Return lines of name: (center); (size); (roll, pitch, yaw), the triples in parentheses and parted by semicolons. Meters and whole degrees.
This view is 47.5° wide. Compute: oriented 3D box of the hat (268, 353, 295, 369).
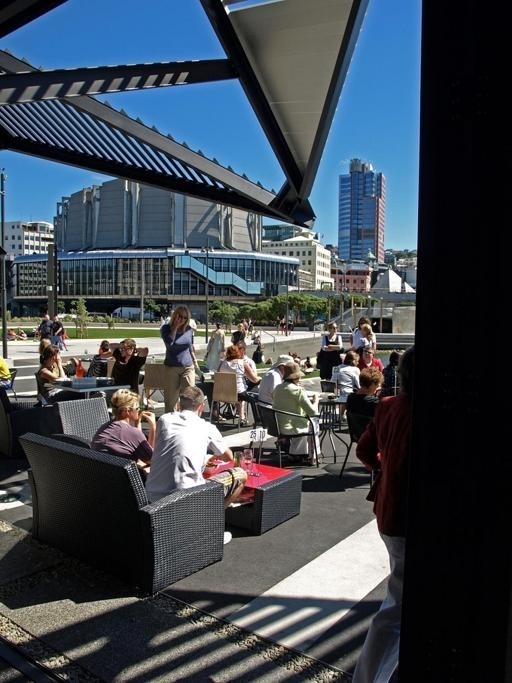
hat: (0.513, 0.413, 13.067); (0.843, 0.325, 0.978); (0, -4, -7)

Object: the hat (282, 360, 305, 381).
hat: (0.451, 0.366, 7.160); (0.218, 0.140, 0.204); (-2, 8, 27)
